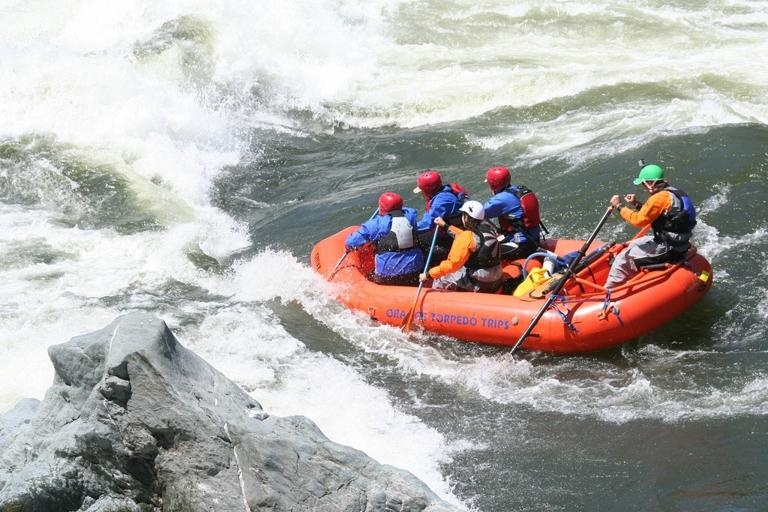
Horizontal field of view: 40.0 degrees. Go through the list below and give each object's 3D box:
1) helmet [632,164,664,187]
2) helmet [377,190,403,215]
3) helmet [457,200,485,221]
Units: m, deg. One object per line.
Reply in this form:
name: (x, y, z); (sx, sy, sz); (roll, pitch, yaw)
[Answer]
helmet: (4.928, -1.536, 20.081); (0.698, 0.314, 0.502); (3, 14, 30)
helmet: (0.125, -1.028, 21.069); (0.433, 0.447, 0.328); (0, 29, 4)
helmet: (1.694, -0.894, 20.507); (0.362, 0.232, 0.440); (14, 17, -30)
